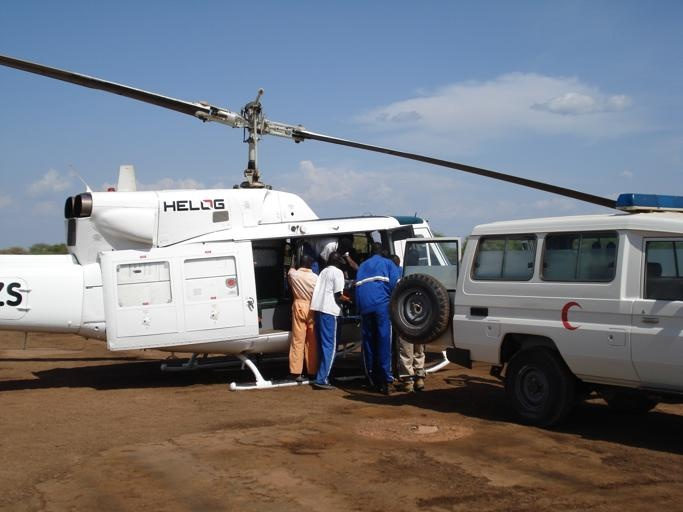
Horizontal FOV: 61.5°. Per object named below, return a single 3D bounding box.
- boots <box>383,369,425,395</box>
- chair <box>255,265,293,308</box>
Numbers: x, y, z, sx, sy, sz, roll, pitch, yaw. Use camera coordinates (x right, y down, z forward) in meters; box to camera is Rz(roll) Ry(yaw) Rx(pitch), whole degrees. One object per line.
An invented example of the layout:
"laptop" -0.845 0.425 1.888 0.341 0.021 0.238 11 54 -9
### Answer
"boots" 0.993 2.120 9.466 0.543 0.249 0.369 -15 13 -18
"chair" -1.364 0.335 11.285 0.588 0.840 0.948 -7 28 -8
